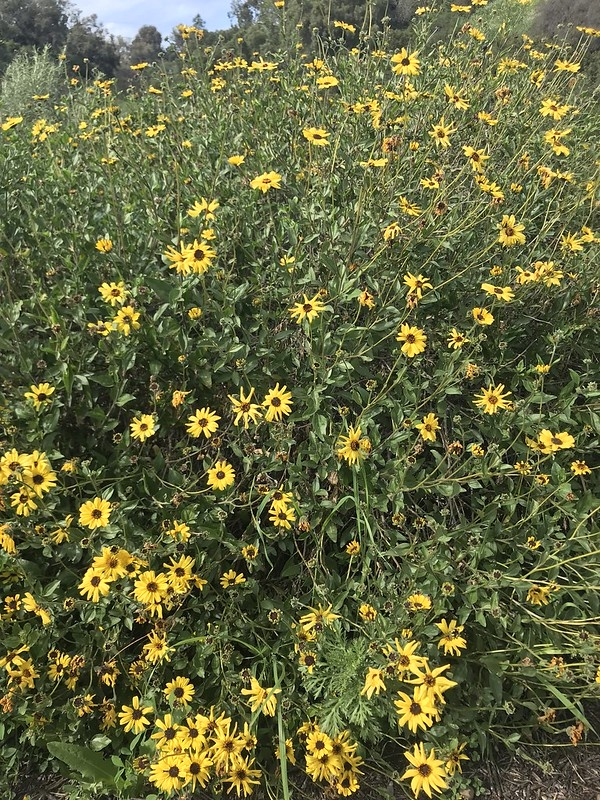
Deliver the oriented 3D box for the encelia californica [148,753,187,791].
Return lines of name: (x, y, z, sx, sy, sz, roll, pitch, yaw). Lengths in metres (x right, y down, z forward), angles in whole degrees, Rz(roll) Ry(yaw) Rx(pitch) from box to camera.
encelia californica: (-0.470, 1.331, 2.418, 0.142, 0.032, 0.141, -19, 38, -1)

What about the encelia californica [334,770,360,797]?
encelia californica: (0.176, 1.450, 2.554, 0.081, 0.100, 0.067, -3, 24, -5)
